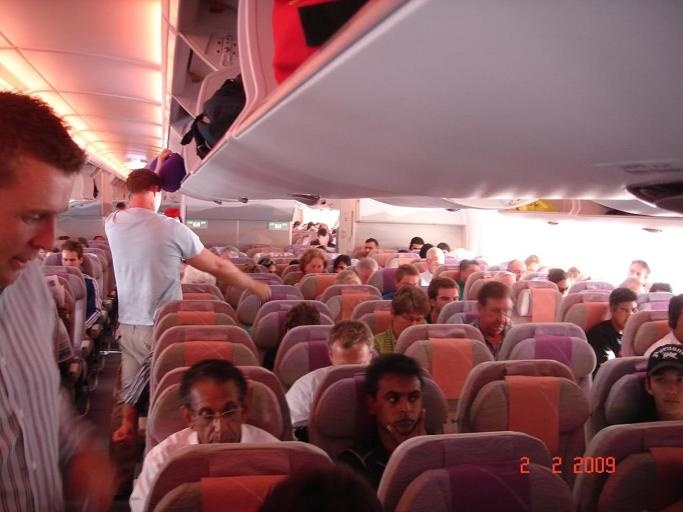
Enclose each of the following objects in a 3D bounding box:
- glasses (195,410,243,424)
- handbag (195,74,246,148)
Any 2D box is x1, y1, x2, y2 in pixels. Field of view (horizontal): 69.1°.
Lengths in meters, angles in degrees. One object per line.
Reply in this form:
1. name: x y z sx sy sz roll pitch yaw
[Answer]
1. glasses: -0.532 0.700 2.164 0.181 0.067 0.033 9 -3 -12
2. handbag: -0.914 -1.122 3.746 0.252 0.577 0.646 12 -3 -22
